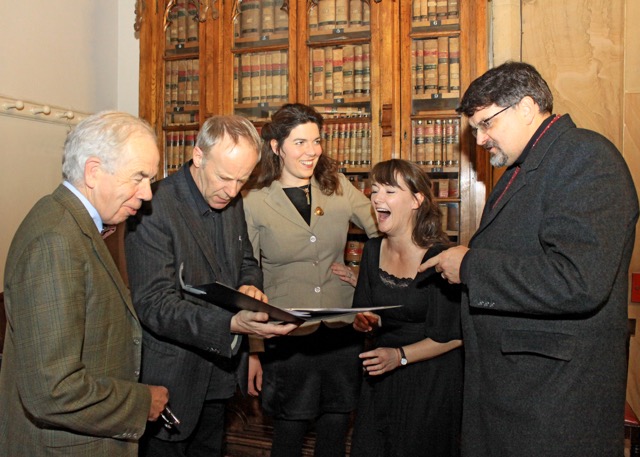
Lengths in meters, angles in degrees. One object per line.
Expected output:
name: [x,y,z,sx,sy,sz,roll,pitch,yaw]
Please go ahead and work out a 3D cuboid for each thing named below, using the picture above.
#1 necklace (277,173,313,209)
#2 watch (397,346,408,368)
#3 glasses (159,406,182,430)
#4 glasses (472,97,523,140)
necklace: [-0.126,-0.168,3.152,0.158,0.174,0.041,-8,-8,-3]
watch: [0.405,0.634,2.741,0.052,0.082,0.086,-9,-6,-3]
glasses: [-0.641,0.819,2.411,0.066,0.095,0.247,-3,-8,-13]
glasses: [0.725,-0.460,2.359,0.124,0.037,0.119,-34,-3,-17]
